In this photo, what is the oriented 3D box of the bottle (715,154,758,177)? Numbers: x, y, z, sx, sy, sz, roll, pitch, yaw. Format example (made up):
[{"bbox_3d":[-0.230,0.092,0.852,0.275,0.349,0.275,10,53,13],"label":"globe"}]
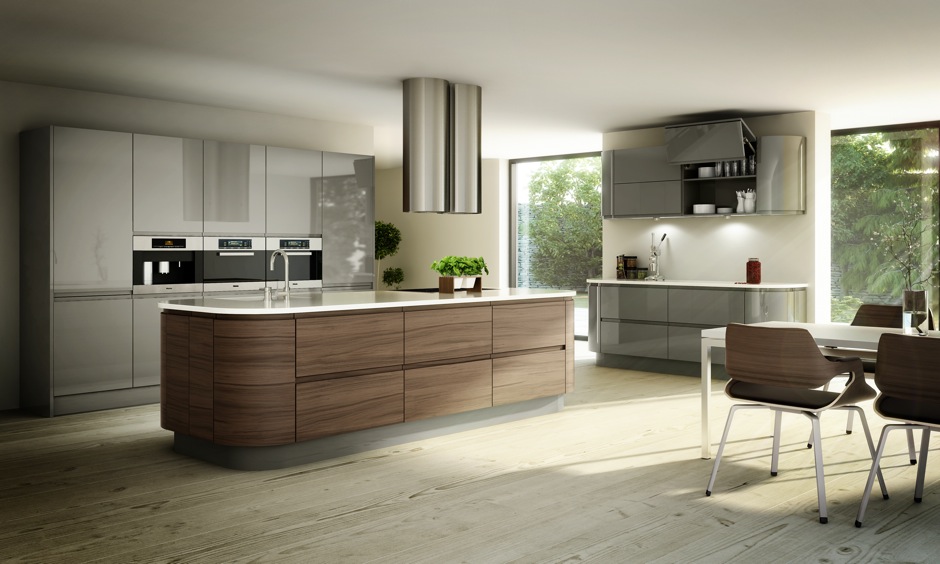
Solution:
[{"bbox_3d":[3.485,-1.517,8.229,0.565,0.255,0.382,7,9,37],"label":"bottle"}]

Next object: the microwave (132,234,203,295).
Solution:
[{"bbox_3d":[-3.465,-0.200,7.084,0.409,0.631,0.799,-1,-1,41],"label":"microwave"}]

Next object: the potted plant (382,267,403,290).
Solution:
[{"bbox_3d":[-1.507,-0.060,12.436,0.423,0.344,0.419,1,1,26],"label":"potted plant"}]

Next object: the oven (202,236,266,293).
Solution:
[{"bbox_3d":[-2.785,-0.201,7.702,0.827,0.658,0.510,-1,0,7],"label":"oven"}]

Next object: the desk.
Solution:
[{"bbox_3d":[2.959,0.860,4.601,1.911,1.350,1.152,-2,2,-38],"label":"desk"}]

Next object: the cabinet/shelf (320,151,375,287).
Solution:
[{"bbox_3d":[-1.620,-0.794,8.271,0.799,1.770,0.330,-5,11,-23],"label":"cabinet/shelf"}]

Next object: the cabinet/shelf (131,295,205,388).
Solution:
[{"bbox_3d":[-3.553,0.652,7.079,0.566,1.042,0.146,-6,12,-27],"label":"cabinet/shelf"}]

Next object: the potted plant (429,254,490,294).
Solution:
[{"bbox_3d":[-0.120,-0.089,6.441,0.523,0.353,0.571,0,9,3],"label":"potted plant"}]

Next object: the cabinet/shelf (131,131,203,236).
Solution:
[{"bbox_3d":[-3.422,-1.092,7.107,0.783,1.114,0.267,-5,11,-23],"label":"cabinet/shelf"}]

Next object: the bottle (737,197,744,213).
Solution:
[{"bbox_3d":[3.551,-1.002,8.206,0.088,0.201,0.105,2,11,17],"label":"bottle"}]

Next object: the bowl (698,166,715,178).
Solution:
[{"bbox_3d":[3.163,-1.469,8.359,0.209,0.148,0.142,2,10,14],"label":"bowl"}]

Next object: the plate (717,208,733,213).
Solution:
[{"bbox_3d":[3.415,-0.953,8.407,0.156,0.064,0.142,0,-1,-15],"label":"plate"}]

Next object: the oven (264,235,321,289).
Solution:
[{"bbox_3d":[-2.302,-0.235,7.940,0.306,0.633,0.824,3,4,39],"label":"oven"}]

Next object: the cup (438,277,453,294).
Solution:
[{"bbox_3d":[-0.241,0.036,6.281,0.102,0.159,0.180,0,2,-29],"label":"cup"}]

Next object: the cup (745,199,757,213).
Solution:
[{"bbox_3d":[3.656,-0.991,8.163,0.129,0.165,0.085,-1,10,-1],"label":"cup"}]
